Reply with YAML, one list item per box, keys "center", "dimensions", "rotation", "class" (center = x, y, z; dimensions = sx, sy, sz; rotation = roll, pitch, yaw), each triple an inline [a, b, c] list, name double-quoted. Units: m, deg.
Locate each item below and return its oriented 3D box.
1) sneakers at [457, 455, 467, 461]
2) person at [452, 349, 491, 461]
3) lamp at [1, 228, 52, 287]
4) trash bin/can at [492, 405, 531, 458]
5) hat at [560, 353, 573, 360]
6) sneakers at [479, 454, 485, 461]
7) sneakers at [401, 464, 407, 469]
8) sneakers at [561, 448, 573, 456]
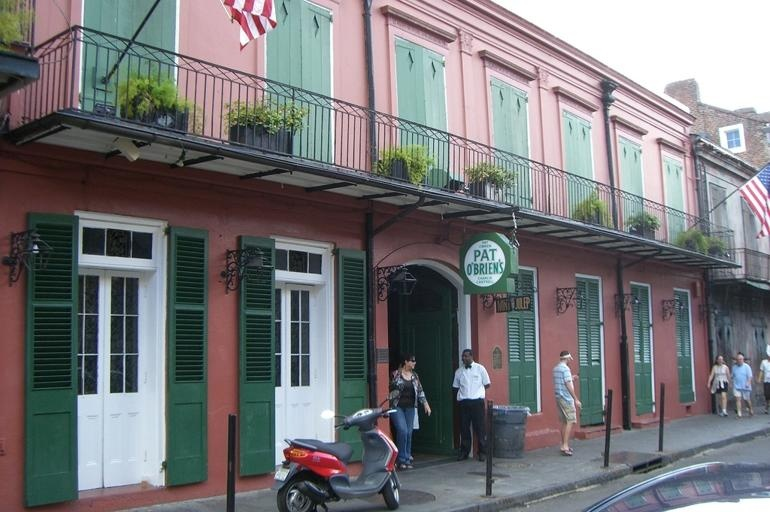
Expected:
- center: [1.585, 4.137, 16.381]
  dimensions: [0.179, 0.187, 0.080]
  rotation: [5, -8, -19]
  class: "sneakers"
- center: [1.764, 3.031, 16.408]
  dimensions: [0.726, 2.214, 0.470]
  rotation: [-11, -14, 41]
  class: "person"
- center: [-5.440, 0.015, 12.059]
  dimensions: [0.694, 0.806, 0.438]
  rotation: [3, -12, -25]
  class: "lamp"
- center: [2.561, 3.681, 16.679]
  dimensions: [0.904, 1.082, 0.937]
  rotation: [4, -9, -6]
  class: "trash bin/can"
- center: [3.828, 2.116, 16.947]
  dimensions: [0.160, 0.168, 0.451]
  rotation: [-6, -12, 21]
  class: "hat"
- center: [1.979, 4.095, 16.299]
  dimensions: [0.126, 0.142, 0.137]
  rotation: [-1, -3, 8]
  class: "sneakers"
- center: [0.361, 4.076, 15.485]
  dimensions: [0.081, 0.063, 0.115]
  rotation: [1, -6, 4]
  class: "sneakers"
- center: [3.846, 4.154, 16.971]
  dimensions: [0.101, 0.142, 0.314]
  rotation: [4, -8, -34]
  class: "sneakers"
